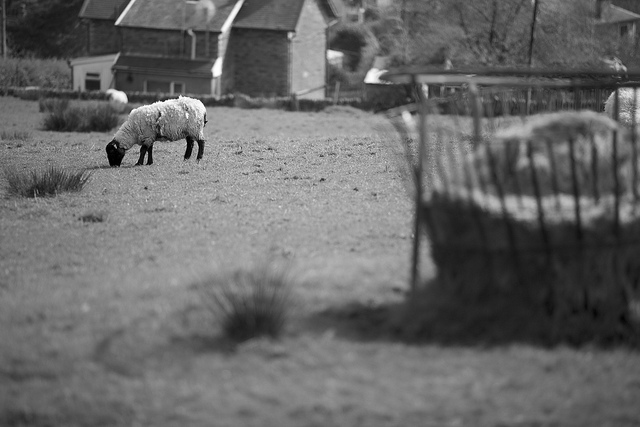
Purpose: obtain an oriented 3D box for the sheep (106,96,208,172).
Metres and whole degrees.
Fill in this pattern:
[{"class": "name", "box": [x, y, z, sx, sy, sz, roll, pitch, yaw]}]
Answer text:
[{"class": "sheep", "box": [-1.459, -0.732, 7.101, 0.904, 0.536, 0.453, -5, 18, -15]}]
